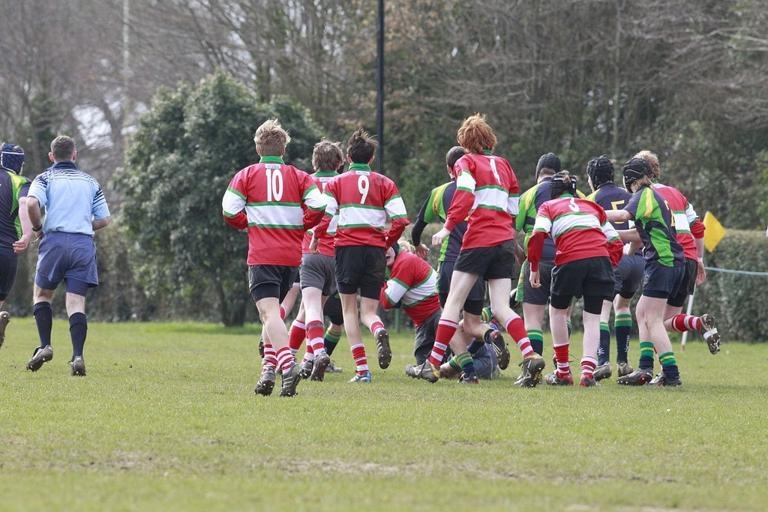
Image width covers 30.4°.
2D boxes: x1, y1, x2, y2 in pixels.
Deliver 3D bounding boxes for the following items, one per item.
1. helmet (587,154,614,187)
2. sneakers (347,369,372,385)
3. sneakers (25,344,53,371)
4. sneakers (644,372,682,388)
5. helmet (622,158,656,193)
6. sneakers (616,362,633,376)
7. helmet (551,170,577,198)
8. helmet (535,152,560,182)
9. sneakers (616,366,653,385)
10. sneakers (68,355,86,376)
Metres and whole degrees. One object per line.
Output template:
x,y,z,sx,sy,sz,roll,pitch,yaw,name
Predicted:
3.453,-1.338,22.214,0.381,0.507,0.488,-1,4,-7,helmet
-0.393,1.823,21.602,0.389,0.207,0.142,-4,-5,34,sneakers
-5.369,1.571,21.934,0.132,0.369,0.191,39,8,-36,sneakers
4.269,1.880,21.639,0.565,0.259,0.212,3,-4,20,sneakers
3.974,-1.324,21.880,0.548,0.590,0.455,2,21,14,helmet
3.813,1.732,22.300,0.117,0.240,0.330,-1,22,30,sneakers
2.705,-1.087,21.333,0.306,0.401,0.412,2,6,-4,helmet
2.580,-1.418,22.249,0.367,0.647,0.436,5,2,3,helmet
3.857,1.830,21.629,0.574,0.303,0.218,0,-4,6,sneakers
-4.672,1.655,21.475,0.239,0.306,0.254,3,-4,-8,sneakers
